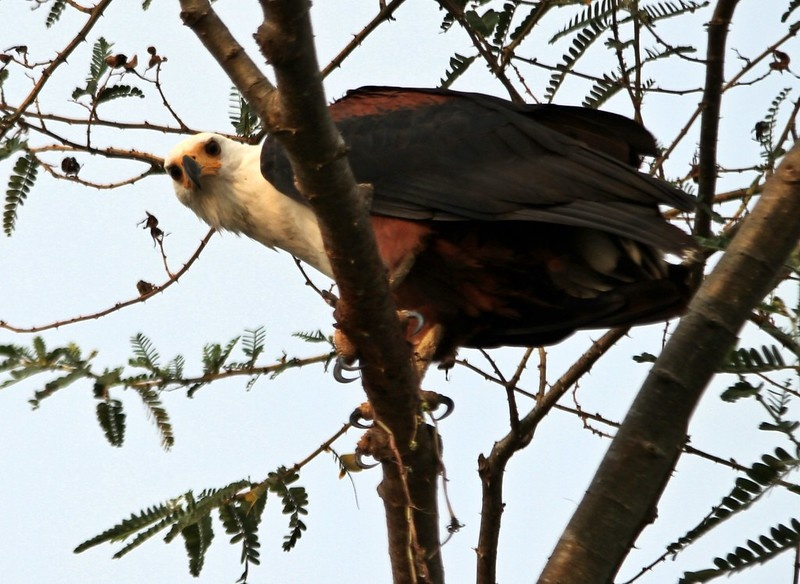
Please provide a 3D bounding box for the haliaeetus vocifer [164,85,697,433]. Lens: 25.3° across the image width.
[{"bbox_3d":[0.146,-0.307,8.036,2.610,1.397,1.093,-5,-42,18],"label":"haliaeetus vocifer"}]
